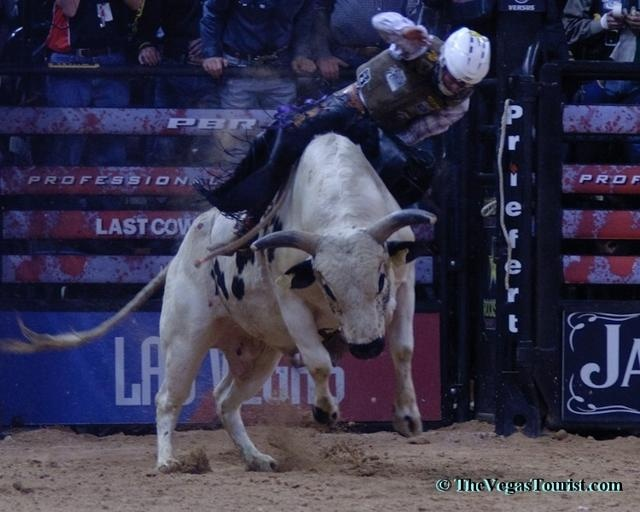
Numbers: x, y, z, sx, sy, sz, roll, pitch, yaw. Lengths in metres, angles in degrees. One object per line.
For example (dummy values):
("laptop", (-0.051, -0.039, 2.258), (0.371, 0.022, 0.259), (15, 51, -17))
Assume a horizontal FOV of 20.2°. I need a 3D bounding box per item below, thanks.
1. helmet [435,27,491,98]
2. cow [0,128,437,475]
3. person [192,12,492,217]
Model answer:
("helmet", (1.136, -1.581, 14.486), (0.425, 0.514, 0.248), (-1, 0, -34))
("cow", (-0.404, 0.411, 14.765), (1.348, 2.554, 3.271), (-1, 0, -35))
("person", (0.250, -1.164, 14.747), (2.457, 0.861, 1.333), (-18, -27, 25))
